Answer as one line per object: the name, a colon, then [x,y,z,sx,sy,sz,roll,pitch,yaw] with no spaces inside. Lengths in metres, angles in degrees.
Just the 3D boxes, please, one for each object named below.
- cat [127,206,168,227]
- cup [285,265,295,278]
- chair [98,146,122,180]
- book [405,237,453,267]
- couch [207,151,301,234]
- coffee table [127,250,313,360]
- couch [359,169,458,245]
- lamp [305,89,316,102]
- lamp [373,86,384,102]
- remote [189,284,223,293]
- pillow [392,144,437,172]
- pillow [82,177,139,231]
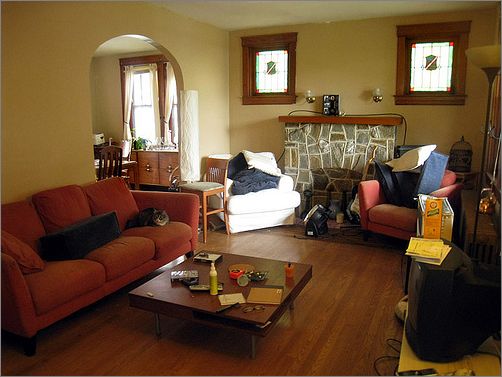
cat: [-1.123,0.311,4.126,0.301,0.110,0.221,-1,8,-10]
cup: [0.331,0.719,3.270,0.065,0.099,0.071,-2,16,1]
chair: [-2.142,-0.400,5.735,0.388,0.511,0.729,-7,13,-13]
book: [1.173,0.417,2.510,0.168,0.042,0.178,6,25,34]
couch: [0.005,-0.091,5.621,1.218,1.087,1.150,-6,13,-26]
coffee table: [-0.216,0.807,3.243,1.249,0.308,1.003,1,14,22]
couch: [2.005,0.227,4.788,0.959,0.898,0.947,5,7,38]
lamp: [0.992,-1.521,6.281,0.175,0.211,0.167,-2,13,9]
lamp: [1.985,-1.480,5.941,0.155,0.197,0.201,-3,36,9]
remote: [-0.364,0.802,3.041,0.168,0.041,0.096,1,5,2]
pillow: [2.107,-0.412,4.861,0.405,0.129,0.406,-39,5,-7]
pillow: [-1.558,0.130,4.185,0.135,0.546,0.569,-25,-3,34]
